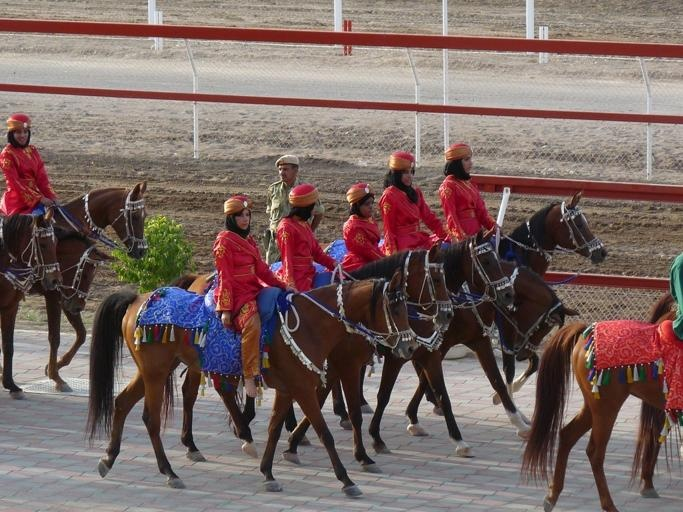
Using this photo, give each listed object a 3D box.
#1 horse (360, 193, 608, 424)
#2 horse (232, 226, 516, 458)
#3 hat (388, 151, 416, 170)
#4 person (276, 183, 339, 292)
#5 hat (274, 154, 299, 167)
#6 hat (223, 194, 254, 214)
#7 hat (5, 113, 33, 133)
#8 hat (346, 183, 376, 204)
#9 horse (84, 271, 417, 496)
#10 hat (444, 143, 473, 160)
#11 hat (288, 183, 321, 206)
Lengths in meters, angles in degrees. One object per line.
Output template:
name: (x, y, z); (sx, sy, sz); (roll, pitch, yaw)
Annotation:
horse: (1.809, 0.676, 21.249); (4.368, 2.734, 1.121); (-8, 8, -25)
horse: (0.521, 1.446, 20.774); (4.179, 2.736, 1.050); (-12, -19, 24)
hat: (0.919, -1.418, 21.556); (0.318, 0.170, 0.300); (4, 9, 18)
person: (-0.505, -0.225, 21.328); (0.890, 2.025, 0.812); (9, 39, 14)
hat: (-0.789, -1.426, 21.956); (0.331, 0.120, 0.365); (-1, 8, -3)
hat: (-1.377, -0.685, 19.416); (0.332, 0.189, 0.328); (5, 10, 35)
hat: (-4.947, -2.074, 22.824); (0.320, 0.256, 1.007); (-2, 9, -10)
hat: (0.262, -0.911, 21.005); (0.334, 0.225, 0.328); (-4, 14, 39)
horse: (-1.154, 1.651, 19.603); (5.078, 2.805, 1.405); (-1, -2, 25)
hat: (1.738, -1.565, 21.996); (0.311, 0.166, 0.287); (10, 9, 10)
hat: (-0.478, -0.863, 20.315); (0.350, 0.173, 0.329); (-2, 15, 14)
